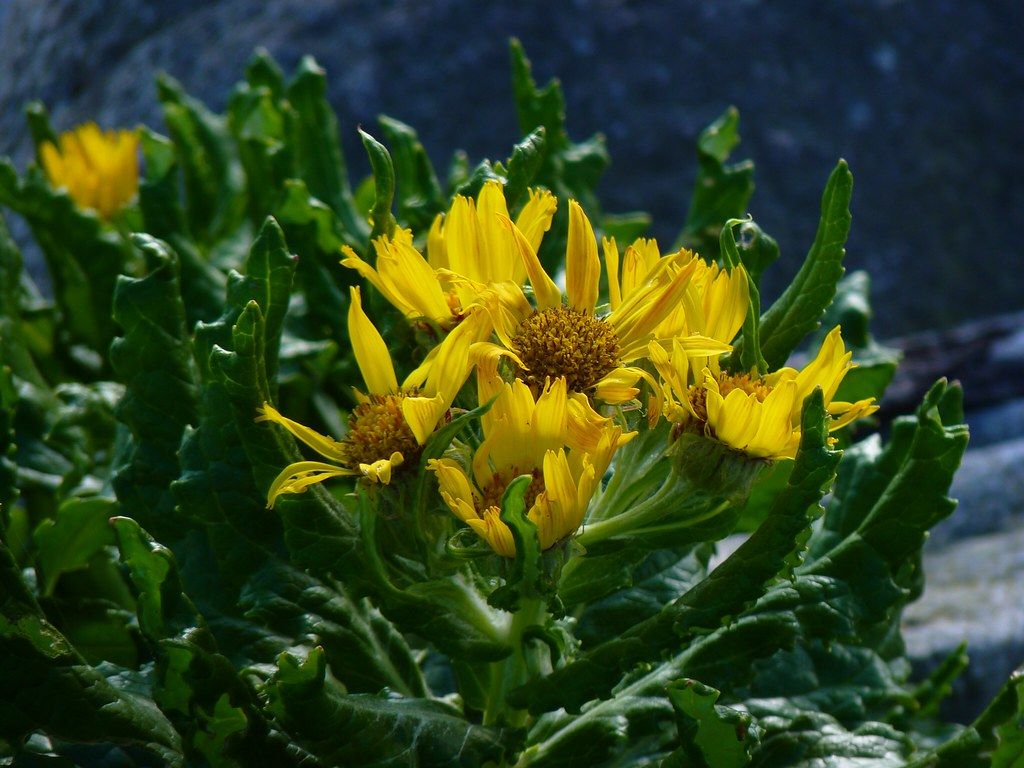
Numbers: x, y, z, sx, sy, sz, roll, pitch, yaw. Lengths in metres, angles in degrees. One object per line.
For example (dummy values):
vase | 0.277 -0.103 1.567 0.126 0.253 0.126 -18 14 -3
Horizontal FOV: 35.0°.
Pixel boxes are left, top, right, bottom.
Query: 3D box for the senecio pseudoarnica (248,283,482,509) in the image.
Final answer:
senecio pseudoarnica | -0.161 0.005 1.861 0.284 0.223 0.126 -13 22 -2

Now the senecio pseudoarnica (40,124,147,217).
senecio pseudoarnica | -0.638 -0.319 2.505 0.147 0.095 0.157 -3 53 -28

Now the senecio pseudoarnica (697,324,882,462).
senecio pseudoarnica | 0.303 0.019 1.851 0.162 0.083 0.162 -19 27 -25
